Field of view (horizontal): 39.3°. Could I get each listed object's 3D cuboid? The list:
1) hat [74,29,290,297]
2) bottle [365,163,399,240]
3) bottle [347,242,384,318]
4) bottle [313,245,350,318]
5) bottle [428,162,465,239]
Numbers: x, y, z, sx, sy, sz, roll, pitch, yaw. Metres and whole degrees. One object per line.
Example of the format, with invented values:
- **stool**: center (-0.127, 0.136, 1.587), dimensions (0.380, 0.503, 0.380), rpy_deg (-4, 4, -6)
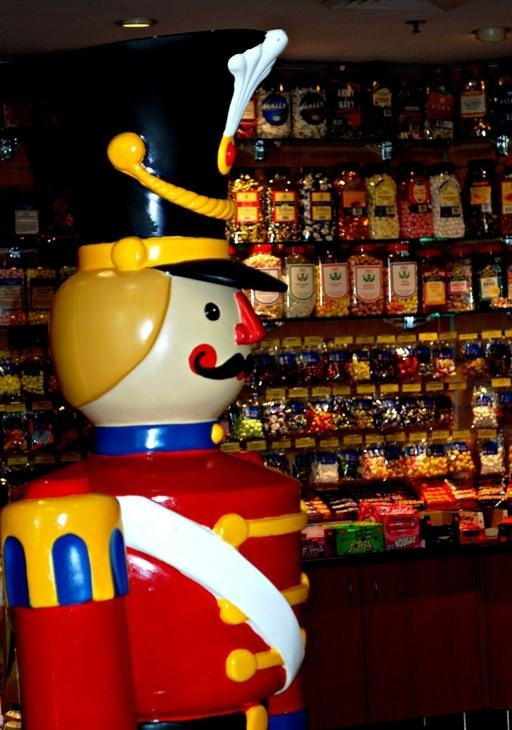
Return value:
- **hat**: center (-0.178, -0.399, 1.440), dimensions (0.504, 0.472, 0.365), rpy_deg (1, 12, -3)
- **bottle**: center (0.604, -0.764, 3.448), dimensions (0.153, 0.319, 0.062), rpy_deg (-3, 7, 8)
- **bottle**: center (0.532, -0.416, 3.519), dimensions (0.204, 0.348, 0.149), rpy_deg (-5, 7, -15)
- **bottle**: center (0.368, -0.382, 3.465), dimensions (0.168, 0.304, 0.091), rpy_deg (-3, 7, 6)
- **bottle**: center (0.927, -0.790, 3.508), dimensions (0.203, 0.322, 0.088), rpy_deg (-2, 5, -9)
